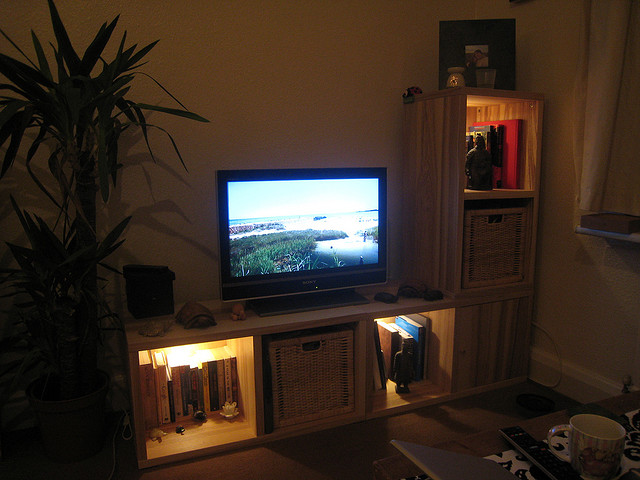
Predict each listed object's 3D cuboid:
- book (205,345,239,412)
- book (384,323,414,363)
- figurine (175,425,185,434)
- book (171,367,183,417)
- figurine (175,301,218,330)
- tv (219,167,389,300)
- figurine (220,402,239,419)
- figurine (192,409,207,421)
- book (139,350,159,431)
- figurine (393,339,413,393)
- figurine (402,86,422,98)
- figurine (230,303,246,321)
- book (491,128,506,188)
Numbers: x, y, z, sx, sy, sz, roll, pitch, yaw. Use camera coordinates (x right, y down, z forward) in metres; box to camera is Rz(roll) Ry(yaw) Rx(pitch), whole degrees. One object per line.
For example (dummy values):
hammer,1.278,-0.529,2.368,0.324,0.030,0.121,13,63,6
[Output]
book,-0.570,0.783,2.947,0.248,0.266,0.321,-4,-1,3
book,0.464,0.620,3.118,0.067,0.180,0.203,-7,16,-19
figurine,-0.730,0.981,2.738,0.032,0.027,0.022,4,-2,-31
book,-0.753,0.803,2.781,0.048,0.197,0.200,-2,6,-24
figurine,-0.643,0.377,2.675,0.170,0.058,0.128,-7,15,-44
tv,-0.125,-0.051,2.899,0.769,0.539,0.060,-3,8,-21
figurine,-0.488,0.922,2.843,0.081,0.058,0.081,1,5,23
figurine,-0.643,0.939,2.817,0.077,0.054,0.073,-7,10,-15
book,-0.889,0.785,2.739,0.081,0.402,0.179,-8,10,-17
figurine,0.486,0.730,3.107,0.116,0.299,0.158,-4,10,7
figurine,0.557,-0.887,3.210,0.105,0.047,0.079,1,22,45
figurine,-0.437,0.379,2.775,0.094,0.078,0.074,-4,10,3
book,1.077,-0.498,3.165,0.081,0.349,0.026,-8,10,-13
